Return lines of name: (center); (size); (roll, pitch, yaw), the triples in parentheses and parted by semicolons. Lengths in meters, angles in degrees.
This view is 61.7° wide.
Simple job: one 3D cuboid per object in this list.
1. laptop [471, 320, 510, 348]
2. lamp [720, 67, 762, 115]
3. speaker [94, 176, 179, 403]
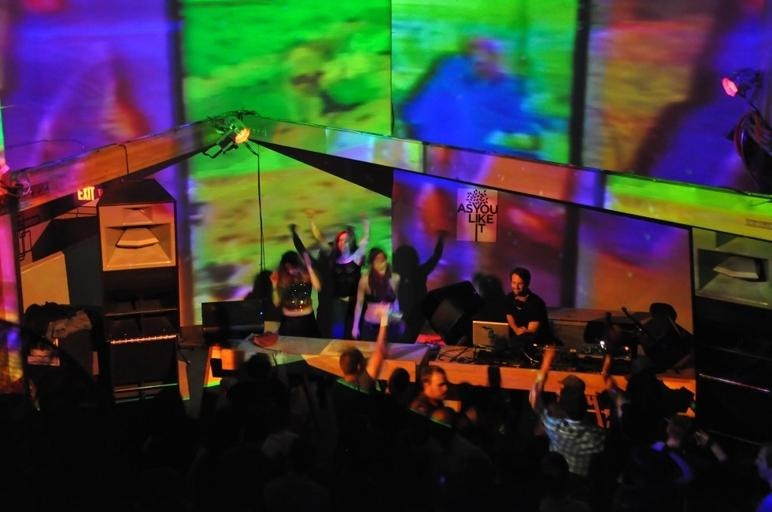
laptop: (0.970, 0.705, 6.019); (0.347, 0.215, 0.241); (1, 3, 20)
lamp: (3.312, -1.562, 6.084); (0.336, 0.379, 0.198); (-2, 13, -4)
speaker: (-2.257, 0.350, 5.955); (0.655, 1.887, 0.298); (-3, 6, -21)
